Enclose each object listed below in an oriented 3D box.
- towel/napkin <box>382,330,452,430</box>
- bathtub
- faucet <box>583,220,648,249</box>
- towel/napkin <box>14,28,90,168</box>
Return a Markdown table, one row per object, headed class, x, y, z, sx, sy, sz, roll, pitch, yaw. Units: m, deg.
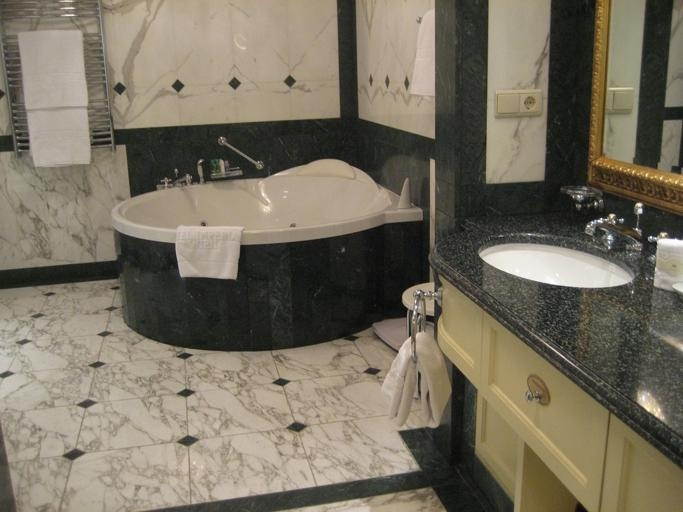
| class | x | y | z | sx | sy | sz | roll | pitch | yaw |
| --- | --- | --- | --- | --- | --- | --- | --- | --- | --- |
| towel/napkin | 0.309 | 0.473 | 2.257 | 0.254 | 0.380 | 0.192 | -6 | 20 | -16 |
| bathtub | -0.476 | 0.023 | 3.839 | 1.738 | 0.904 | 1.390 | -6 | 20 | -22 |
| faucet | 0.982 | -0.083 | 2.092 | 0.074 | 0.107 | 0.243 | -22 | 27 | -26 |
| towel/napkin | -2.136 | -1.187 | 4.290 | 0.457 | 0.956 | 0.308 | -9 | 21 | -23 |
